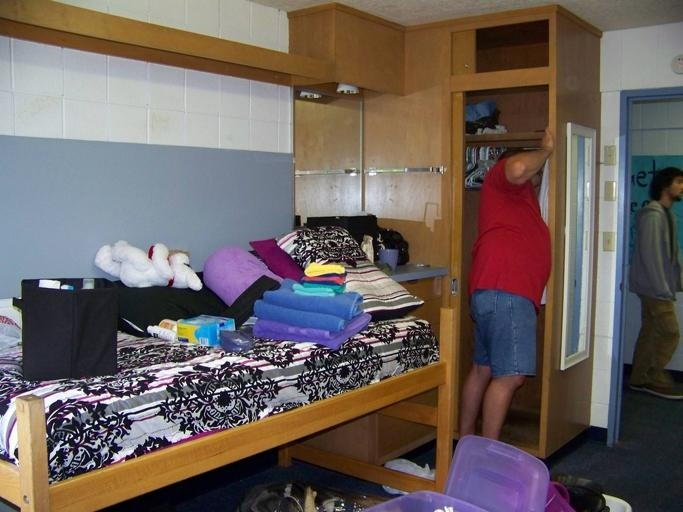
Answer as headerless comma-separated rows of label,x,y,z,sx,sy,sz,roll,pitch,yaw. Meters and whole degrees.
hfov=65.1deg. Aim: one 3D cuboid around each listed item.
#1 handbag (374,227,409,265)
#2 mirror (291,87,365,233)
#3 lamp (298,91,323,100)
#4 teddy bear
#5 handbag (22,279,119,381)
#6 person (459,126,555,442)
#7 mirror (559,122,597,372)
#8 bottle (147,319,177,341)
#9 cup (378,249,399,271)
handbag,0.359,-0.089,3.767,0.226,0.214,0.274,-1,1,-36
mirror,-0.070,-0.688,3.761,0.086,0.880,0.731,4,10,41
lamp,-0.202,-1.076,3.596,0.175,0.056,0.029,-9,10,-40
teddy bear,-0.982,0.060,2.721,0.492,0.276,0.173,-6,8,-23
handbag,-0.913,0.221,1.947,0.442,0.409,0.293,0,-4,-34
person,0.978,0.216,3.235,0.495,1.799,0.578,1,9,27
mirror,1.593,-0.060,3.604,0.111,1.618,0.652,2,9,34
bottle,-0.753,0.326,2.390,0.212,0.108,0.090,-4,-9,26
cup,0.321,0.033,3.521,0.145,0.141,0.123,-1,4,-14
